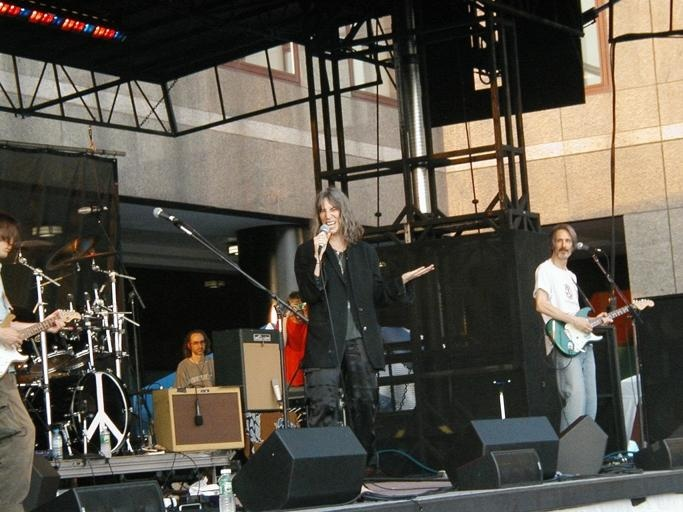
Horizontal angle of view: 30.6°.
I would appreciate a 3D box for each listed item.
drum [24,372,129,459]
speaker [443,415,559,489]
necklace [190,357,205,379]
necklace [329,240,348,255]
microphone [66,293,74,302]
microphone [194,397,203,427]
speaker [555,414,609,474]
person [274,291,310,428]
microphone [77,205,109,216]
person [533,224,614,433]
[{"bbox_3d":[-2.369,1.407,11.296,0.687,0.775,0.760,2,-3,27],"label":"drum"},{"bbox_3d":[1.113,1.357,8.578,0.706,0.416,0.454,1,-10,-38],"label":"speaker"},{"bbox_3d":[-1.435,1.134,12.483,0.175,0.162,0.045,-2,-16,-44],"label":"necklace"},{"bbox_3d":[-0.019,-0.063,9.332,0.108,0.111,0.138,-1,9,-6],"label":"necklace"},{"bbox_3d":[-2.713,0.416,12.424,0.065,0.066,0.096,-6,-3,0],"label":"microphone"},{"bbox_3d":[-1.265,1.396,11.069,0.074,0.226,0.058,-2,-20,-9],"label":"microphone"},{"bbox_3d":[1.695,1.357,9.118,0.369,0.407,0.409,0,0,30],"label":"speaker"},{"bbox_3d":[-0.410,0.997,11.580,0.432,1.155,0.373,0,1,3],"label":"person"},{"bbox_3d":[-2.527,-0.477,12.840,0.358,0.073,0.132,-3,-4,-37],"label":"microphone"},{"bbox_3d":[1.974,0.595,10.731,0.617,1.682,0.513,2,2,-8],"label":"person"}]
